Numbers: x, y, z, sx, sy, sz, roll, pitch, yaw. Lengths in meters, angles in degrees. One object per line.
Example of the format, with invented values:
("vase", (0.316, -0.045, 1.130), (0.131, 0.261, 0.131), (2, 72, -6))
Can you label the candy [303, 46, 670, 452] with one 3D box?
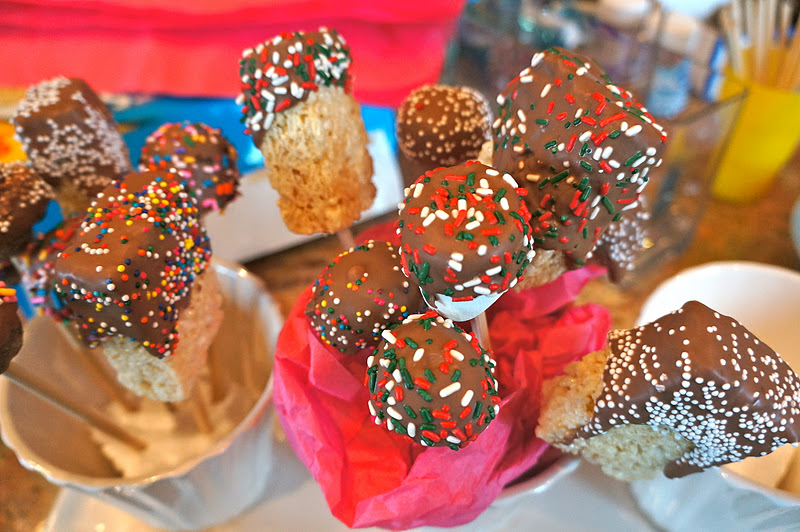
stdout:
("candy", (0.079, -0.016, 0.952), (0.276, 0.351, 0.433), (32, 62, 21))

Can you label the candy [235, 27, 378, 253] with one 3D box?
("candy", (-0.120, -0.168, 1.046), (0.164, 0.270, 0.116), (-24, 40, -7))
